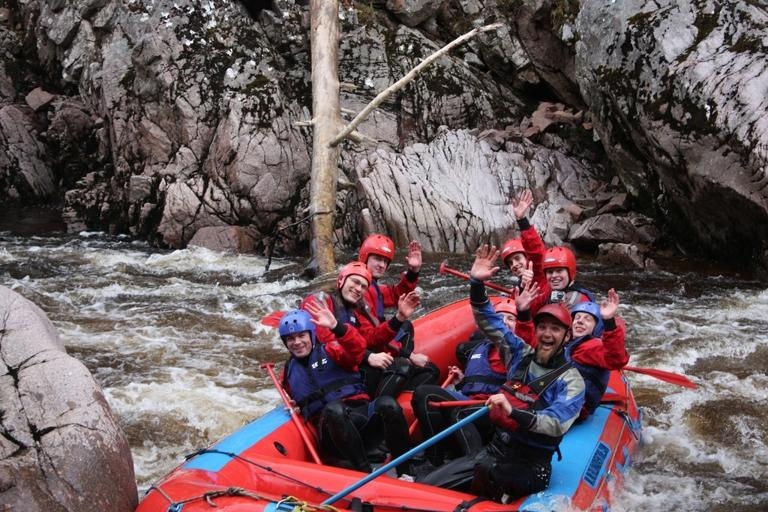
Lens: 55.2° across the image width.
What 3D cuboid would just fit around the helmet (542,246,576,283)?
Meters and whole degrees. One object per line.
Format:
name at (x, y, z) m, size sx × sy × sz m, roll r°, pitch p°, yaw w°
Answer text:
helmet at (2.133, 0.098, 9.039) m, size 0.317 × 0.432 × 0.429 m, roll -6°, pitch -1°, yaw 34°

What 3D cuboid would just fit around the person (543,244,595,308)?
person at (2.173, 0.253, 8.931) m, size 0.511 × 0.771 × 0.705 m, roll -11°, pitch -1°, yaw 18°

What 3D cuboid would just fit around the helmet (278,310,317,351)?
helmet at (-0.940, 0.813, 8.049) m, size 0.290 × 0.346 × 0.387 m, roll -15°, pitch -17°, yaw -1°

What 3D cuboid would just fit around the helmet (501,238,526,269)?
helmet at (1.664, -0.008, 9.536) m, size 0.251 × 0.375 × 0.287 m, roll -18°, pitch 26°, yaw 15°

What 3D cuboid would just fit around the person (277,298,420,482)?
person at (-0.403, 1.505, 7.917) m, size 0.890 × 1.101 × 1.818 m, roll -20°, pitch 46°, yaw -33°

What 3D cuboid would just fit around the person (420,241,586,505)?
person at (1.307, 1.188, 7.383) m, size 1.349 × 2.549 × 0.779 m, roll 1°, pitch 1°, yaw 14°

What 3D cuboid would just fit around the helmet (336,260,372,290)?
helmet at (-0.344, 0.194, 8.300) m, size 0.258 × 0.355 × 0.296 m, roll 17°, pitch 19°, yaw -17°
